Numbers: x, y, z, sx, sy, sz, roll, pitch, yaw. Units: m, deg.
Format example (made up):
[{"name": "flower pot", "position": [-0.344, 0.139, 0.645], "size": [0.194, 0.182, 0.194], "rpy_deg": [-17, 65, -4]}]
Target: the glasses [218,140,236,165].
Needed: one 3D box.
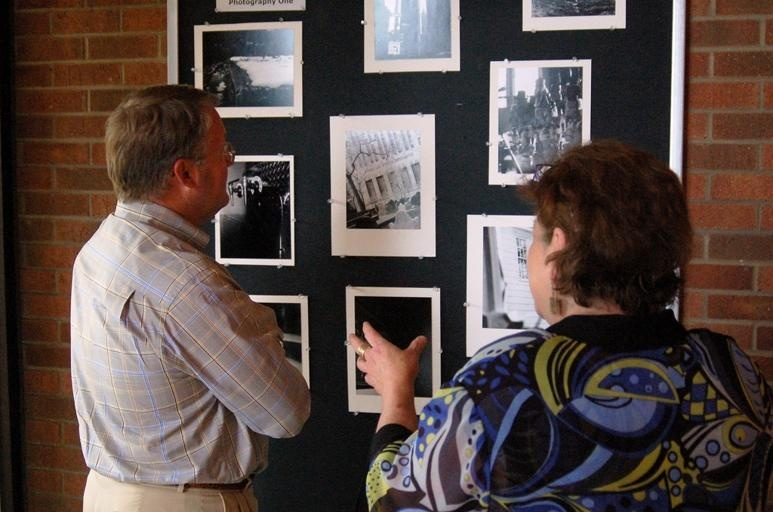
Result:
[{"name": "glasses", "position": [-0.566, -0.363, 2.979], "size": [0.031, 0.078, 0.075], "rpy_deg": [2, -7, 0]}]
